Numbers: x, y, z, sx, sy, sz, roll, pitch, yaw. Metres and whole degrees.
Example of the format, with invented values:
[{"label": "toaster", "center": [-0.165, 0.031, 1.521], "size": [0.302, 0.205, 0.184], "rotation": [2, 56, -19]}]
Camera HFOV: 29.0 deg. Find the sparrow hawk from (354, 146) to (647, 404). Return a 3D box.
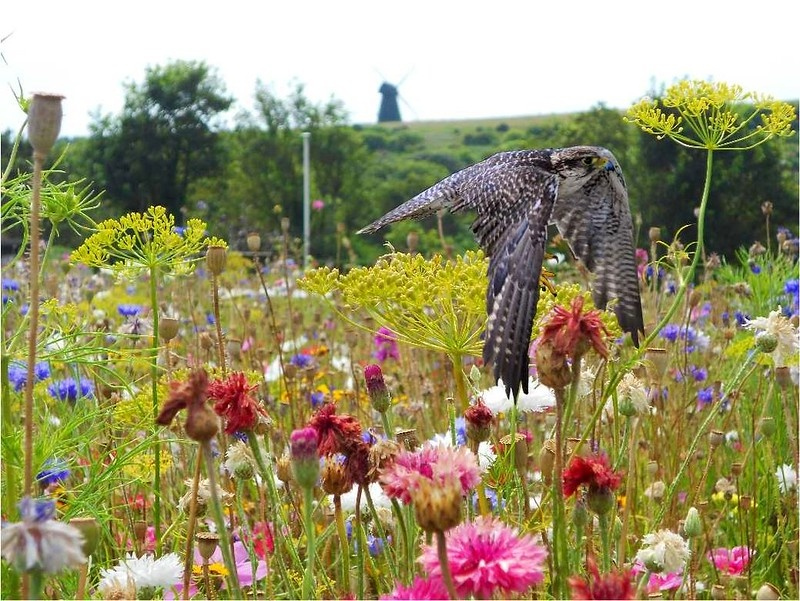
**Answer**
[{"label": "sparrow hawk", "center": [0.590, -0.256, 7.423], "size": [0.969, 1.003, 1.245], "rotation": [15, 16, 39]}]
